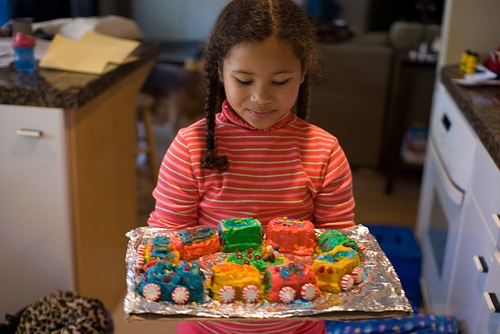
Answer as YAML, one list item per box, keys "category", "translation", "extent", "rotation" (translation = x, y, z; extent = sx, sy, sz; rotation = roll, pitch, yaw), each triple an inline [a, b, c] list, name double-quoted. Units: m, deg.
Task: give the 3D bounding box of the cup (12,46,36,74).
- category: "cup"
  translation: [-0.980, -0.480, 1.912]
  extent: [0.094, 0.126, 0.083]
  rotation: [-6, 32, -25]

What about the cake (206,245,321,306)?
- category: "cake"
  translation: [0.042, 0.330, 1.392]
  extent: [0.354, 0.090, 0.242]
  rotation: [0, 17, 0]

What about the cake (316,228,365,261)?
- category: "cake"
  translation: [0.304, 0.260, 1.497]
  extent: [0.125, 0.052, 0.164]
  rotation: [4, 8, -12]

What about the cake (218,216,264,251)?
- category: "cake"
  translation: [-0.013, 0.241, 1.515]
  extent: [0.155, 0.078, 0.117]
  rotation: [-7, -1, 20]

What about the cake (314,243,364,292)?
- category: "cake"
  translation: [0.277, 0.322, 1.387]
  extent: [0.144, 0.094, 0.131]
  rotation: [-4, 18, -12]

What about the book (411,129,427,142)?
- category: "book"
  translation: [1.346, -0.253, 3.500]
  extent: [0.106, 0.099, 0.025]
  rotation: [-1, -16, 4]

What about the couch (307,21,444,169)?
- category: "couch"
  translation: [0.873, -0.833, 3.395]
  extent: [0.935, 1.300, 0.944]
  rotation: [7, 47, 9]

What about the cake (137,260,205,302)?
- category: "cake"
  translation: [-0.238, 0.341, 1.326]
  extent: [0.196, 0.084, 0.151]
  rotation: [-3, 17, -9]

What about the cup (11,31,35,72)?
- category: "cup"
  translation: [-0.983, -0.504, 1.919]
  extent: [0.093, 0.166, 0.138]
  rotation: [-9, 19, -26]

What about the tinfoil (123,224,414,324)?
- category: "tinfoil"
  translation: [0.060, 0.376, 1.313]
  extent: [0.693, 0.101, 0.429]
  rotation: [2, 28, -2]

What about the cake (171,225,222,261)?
- category: "cake"
  translation: [-0.173, 0.251, 1.450]
  extent: [0.123, 0.065, 0.109]
  rotation: [-12, 27, -30]
